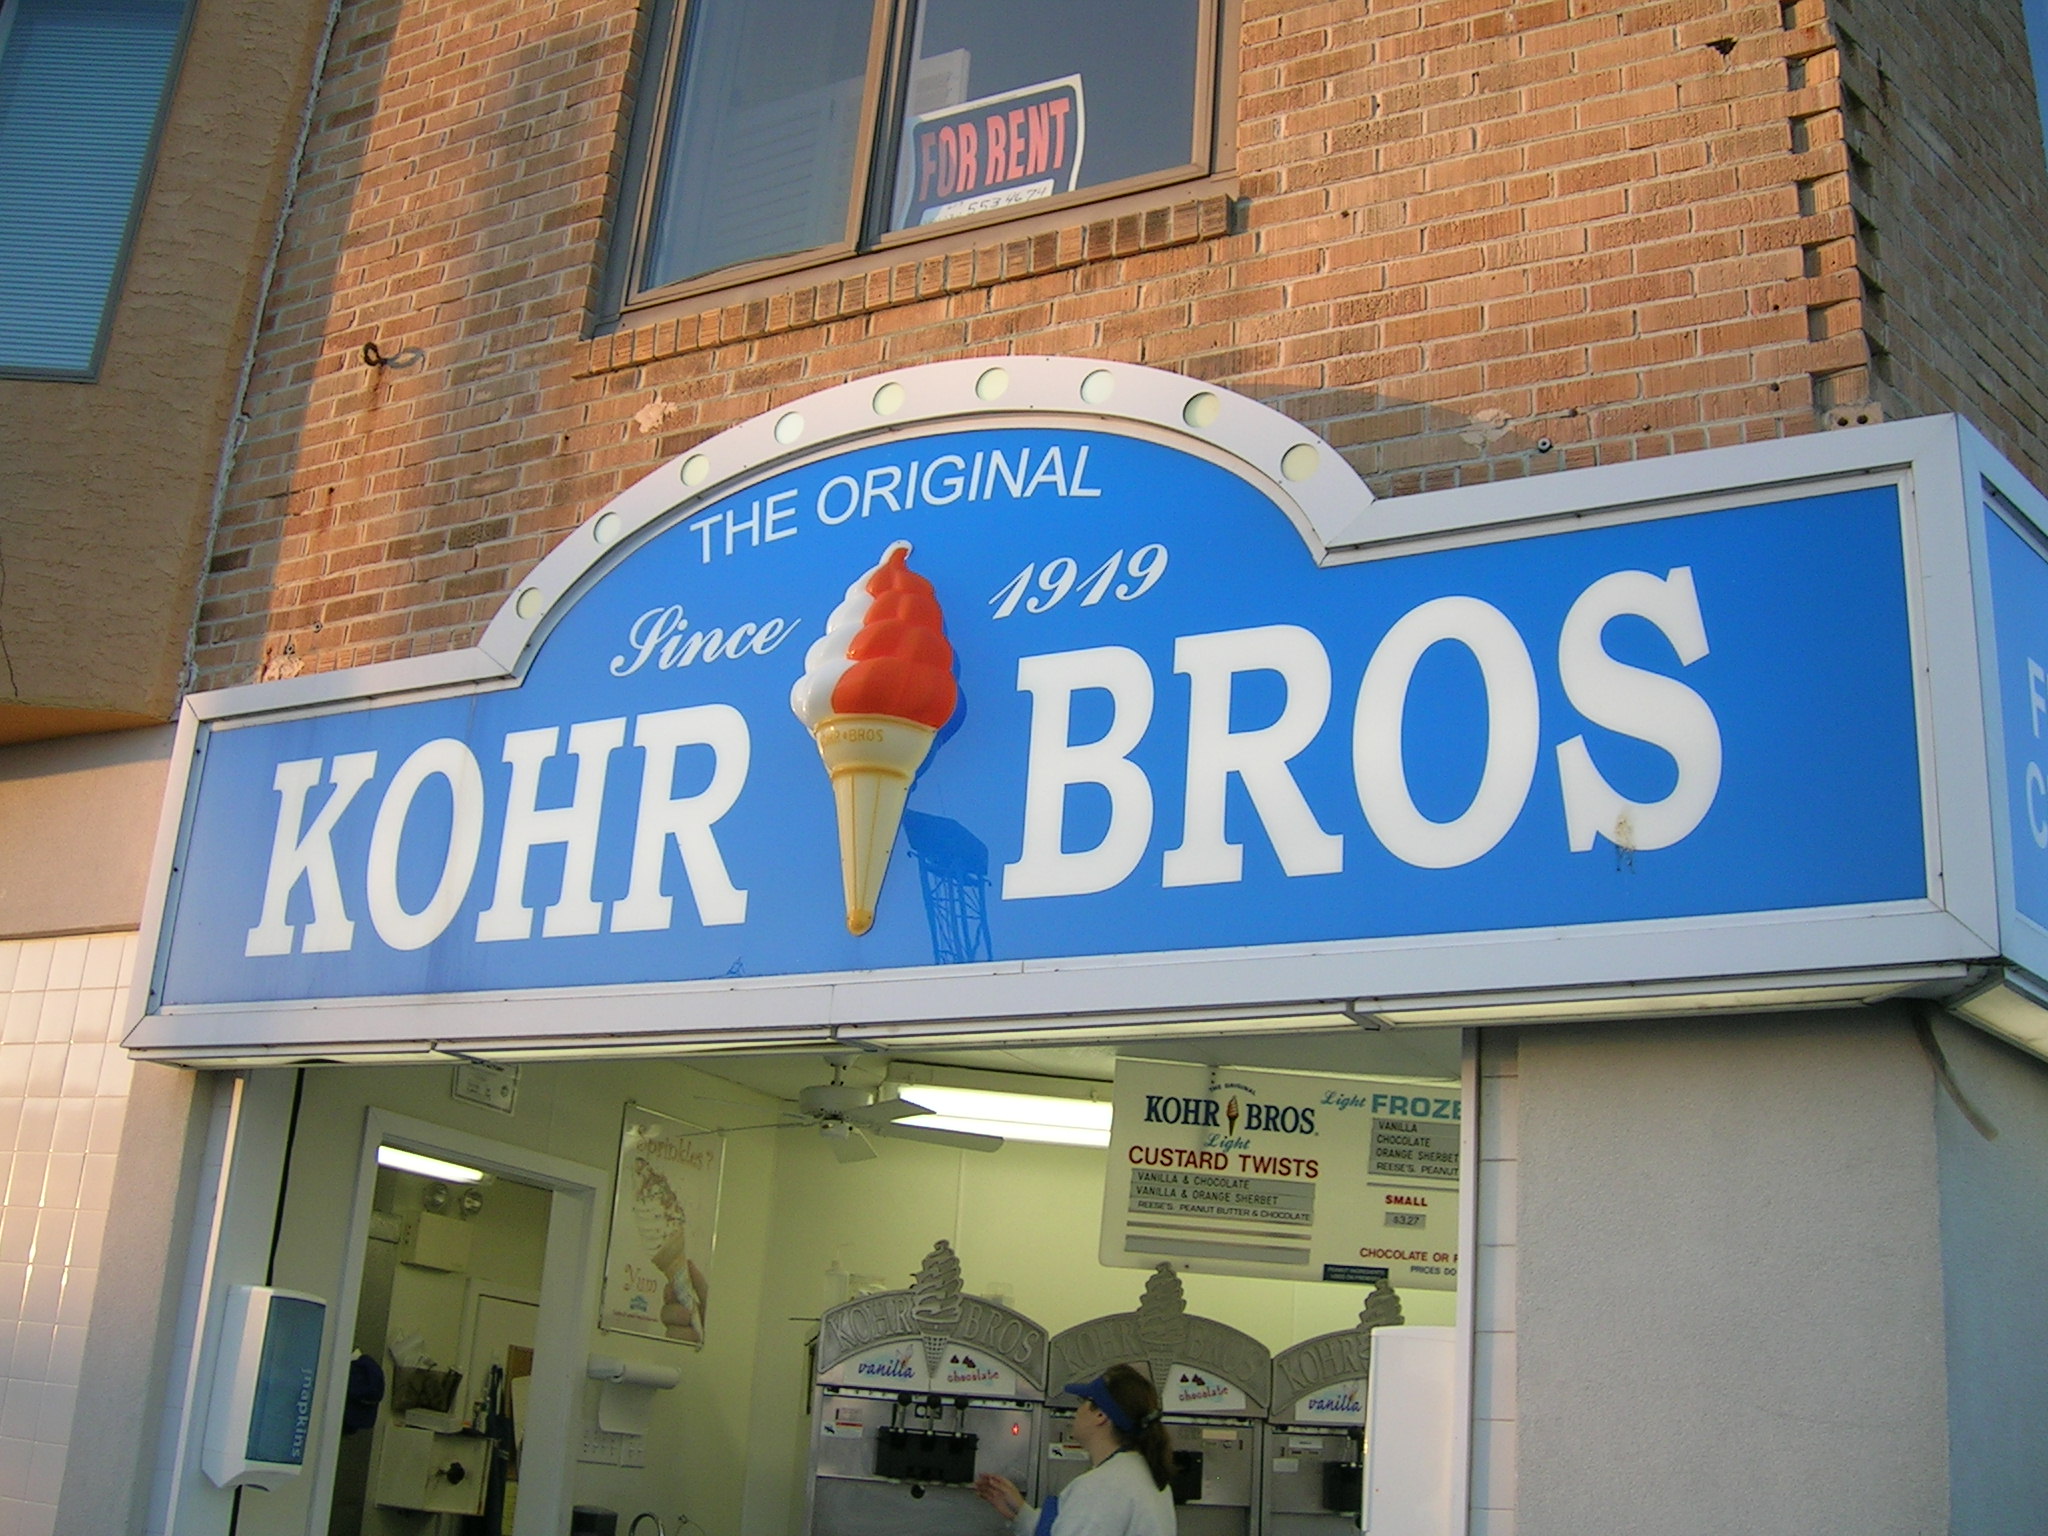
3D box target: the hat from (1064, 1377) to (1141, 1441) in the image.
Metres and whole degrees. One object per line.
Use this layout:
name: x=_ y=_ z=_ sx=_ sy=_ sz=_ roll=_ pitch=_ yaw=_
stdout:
hat: x=0.291 y=2.410 z=7.777 sx=0.169 sy=0.104 sz=0.262 roll=22 pitch=11 yaw=-48
